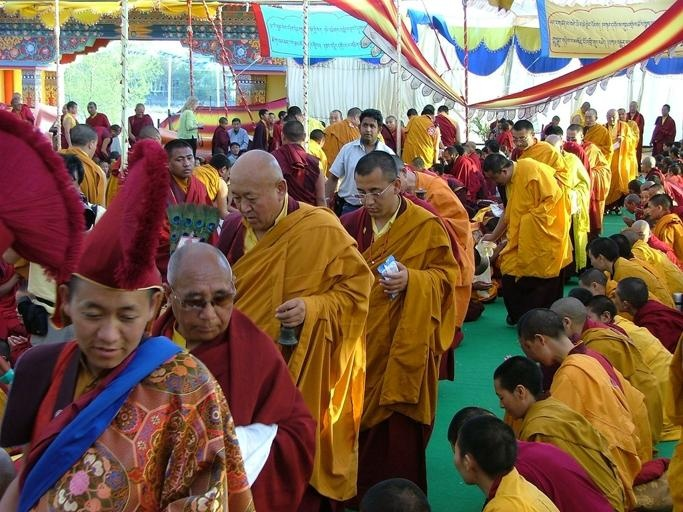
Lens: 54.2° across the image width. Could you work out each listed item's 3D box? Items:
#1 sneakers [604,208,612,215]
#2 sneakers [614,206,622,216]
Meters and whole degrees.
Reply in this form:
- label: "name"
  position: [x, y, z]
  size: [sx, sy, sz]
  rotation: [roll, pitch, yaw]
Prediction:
- label: "sneakers"
  position: [5.203, -0.868, 13.055]
  size: [0.101, 0.151, 0.064]
  rotation: [-3, -2, 2]
- label: "sneakers"
  position: [5.409, -0.864, 13.097]
  size: [0.136, 0.123, 0.112]
  rotation: [0, -4, 14]
